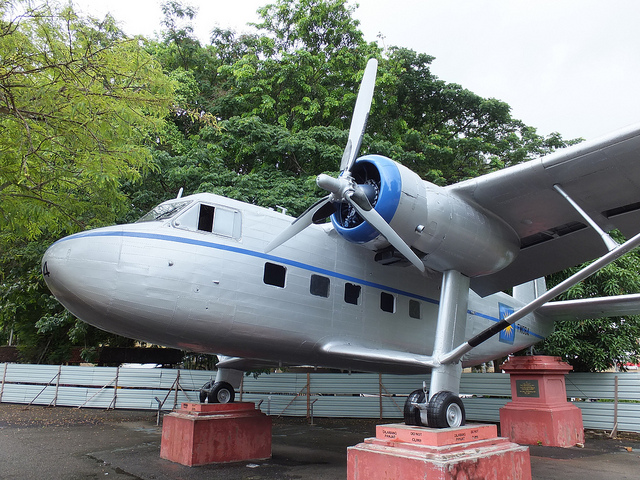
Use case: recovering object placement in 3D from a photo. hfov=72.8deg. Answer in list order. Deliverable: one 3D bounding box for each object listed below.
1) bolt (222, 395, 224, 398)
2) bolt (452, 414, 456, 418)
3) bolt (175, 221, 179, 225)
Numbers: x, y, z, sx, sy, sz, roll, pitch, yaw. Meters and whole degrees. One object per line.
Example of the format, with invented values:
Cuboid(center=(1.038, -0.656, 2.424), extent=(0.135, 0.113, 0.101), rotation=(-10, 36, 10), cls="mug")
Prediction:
Cuboid(center=(-2.506, 4.069, 11.280), extent=(0.064, 0.071, 0.081), rotation=(0, -20, 1), cls="bolt")
Cuboid(center=(2.421, 3.186, 7.841), extent=(0.075, 0.053, 0.012), rotation=(12, -22, -26), cls="bolt")
Cuboid(center=(-2.839, -0.336, 8.664), extent=(0.076, 0.072, 0.006), rotation=(6, -21, -10), cls="bolt")
